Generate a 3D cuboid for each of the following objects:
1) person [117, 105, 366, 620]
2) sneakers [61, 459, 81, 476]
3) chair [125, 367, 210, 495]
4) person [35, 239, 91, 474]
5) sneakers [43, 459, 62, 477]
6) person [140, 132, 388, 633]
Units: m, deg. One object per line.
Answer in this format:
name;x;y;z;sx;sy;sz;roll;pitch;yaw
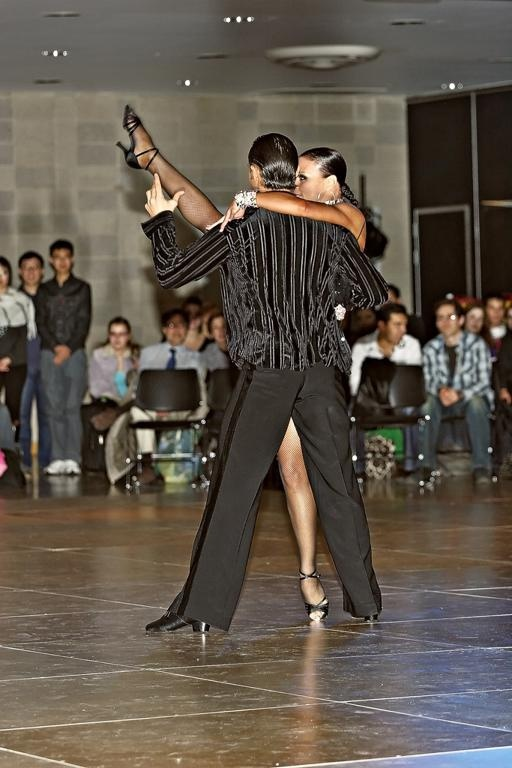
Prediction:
person;0.022;-0.042;2.857;0.998;1.672;0.306;2;1;5
sneakers;-1.990;0.908;8.622;0.179;0.140;0.303;-2;1;-13
chair;-0.792;0.379;7.233;0.862;1.054;0.840;1;-3;-18
person;-2.120;-0.320;8.862;0.588;2.587;0.566;-2;2;-14
sneakers;-2.187;0.914;8.664;0.130;0.099;0.218;3;-15;-6
person;0.055;0.092;2.611;0.828;1.447;0.304;-3;2;-29
